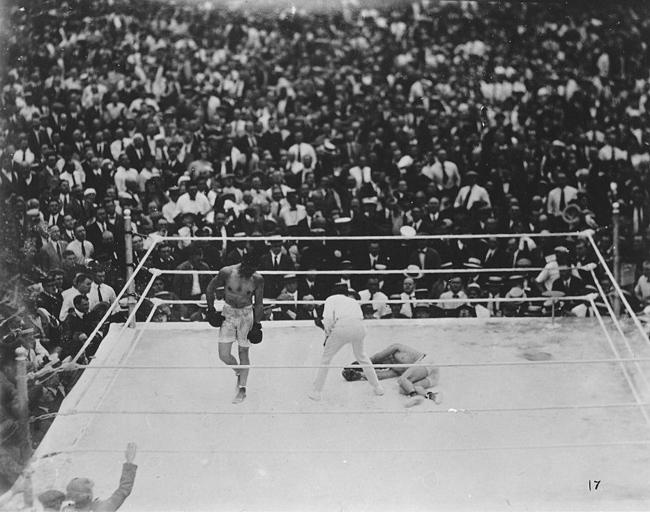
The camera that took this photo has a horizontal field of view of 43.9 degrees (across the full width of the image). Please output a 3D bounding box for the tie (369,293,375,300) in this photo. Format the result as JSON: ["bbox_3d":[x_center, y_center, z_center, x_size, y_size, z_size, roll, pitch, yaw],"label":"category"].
[{"bbox_3d":[0.363,0.320,6.274,0.025,0.044,0.012,10,36,4],"label":"tie"}]

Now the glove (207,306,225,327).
[{"bbox_3d":[-0.796,0.457,5.905,0.135,0.146,0.093,-1,7,-3],"label":"glove"}]

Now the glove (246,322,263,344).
[{"bbox_3d":[-0.507,0.571,5.911,0.109,0.154,0.149,4,8,-2],"label":"glove"}]

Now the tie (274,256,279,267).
[{"bbox_3d":[-0.373,0.047,6.281,0.044,0.025,0.137,-1,38,1],"label":"tie"}]

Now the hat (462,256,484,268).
[{"bbox_3d":[1.157,0.060,6.306,0.102,0.093,0.040,5,14,11],"label":"hat"}]

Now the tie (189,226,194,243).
[{"bbox_3d":[-1.047,-0.165,6.366,0.030,0.129,0.041,0,-4,-11],"label":"tie"}]

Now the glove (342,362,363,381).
[{"bbox_3d":[0.209,0.854,5.841,0.146,0.109,0.067,-3,4,18],"label":"glove"}]

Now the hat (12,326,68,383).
[{"bbox_3d":[-2.179,0.755,6.164,0.372,0.401,0.116,-1,8,-2],"label":"hat"}]

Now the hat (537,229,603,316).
[{"bbox_3d":[1.850,0.104,6.273,0.472,0.636,0.209,1,12,6],"label":"hat"}]
